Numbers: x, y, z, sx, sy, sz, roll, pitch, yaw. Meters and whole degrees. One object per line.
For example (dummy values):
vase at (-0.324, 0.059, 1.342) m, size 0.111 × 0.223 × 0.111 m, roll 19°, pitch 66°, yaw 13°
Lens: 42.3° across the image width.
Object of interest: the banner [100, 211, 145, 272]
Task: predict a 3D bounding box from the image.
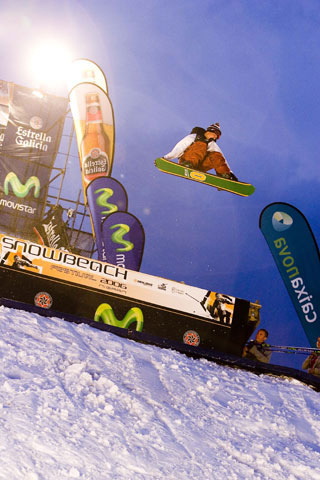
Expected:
banner at (-1.160, 0.107, 12.649) m, size 1.278 × 2.645 × 0.299 m, roll 10°, pitch 36°, yaw 7°

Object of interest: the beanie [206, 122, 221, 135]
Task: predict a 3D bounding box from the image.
beanie at (1.981, -4.305, 15.539) m, size 0.459 × 0.207 × 0.585 m, roll 6°, pitch 32°, yaw -24°

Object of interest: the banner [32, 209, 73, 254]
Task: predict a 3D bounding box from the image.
banner at (-3.195, -0.293, 11.968) m, size 1.339 × 0.998 × 0.114 m, roll 54°, pitch -1°, yaw 34°
